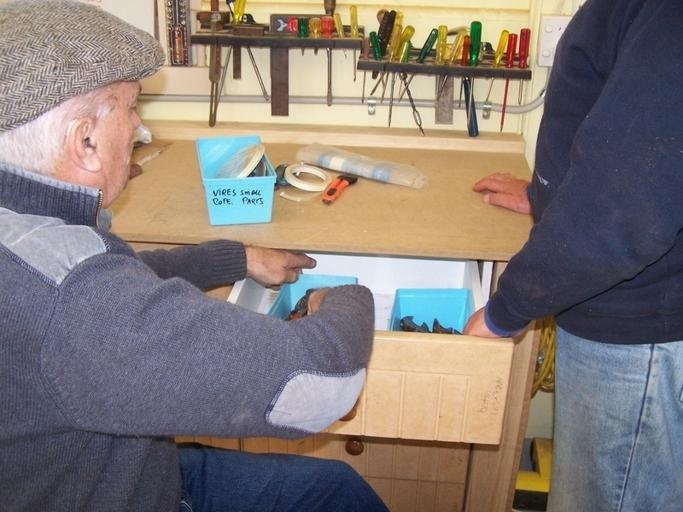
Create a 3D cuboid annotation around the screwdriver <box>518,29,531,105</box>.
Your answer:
[{"bbox_3d":[0.632,-0.654,1.985,0.036,0.223,0.037,-1,16,-12],"label":"screwdriver"}]

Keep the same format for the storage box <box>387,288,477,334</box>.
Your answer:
[{"bbox_3d":[0.311,0.153,1.754,0.223,0.109,0.224,-5,2,-43],"label":"storage box"}]

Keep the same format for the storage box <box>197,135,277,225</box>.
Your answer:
[{"bbox_3d":[-0.308,-0.259,1.683,0.198,0.152,0.351,-2,28,-5],"label":"storage box"}]

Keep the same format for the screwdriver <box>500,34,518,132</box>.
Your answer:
[{"bbox_3d":[0.560,-0.579,1.963,0.037,0.335,0.036,4,-1,25],"label":"screwdriver"}]

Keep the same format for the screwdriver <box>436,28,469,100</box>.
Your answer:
[{"bbox_3d":[0.351,-0.646,1.976,0.088,0.236,0.117,1,30,-4],"label":"screwdriver"}]

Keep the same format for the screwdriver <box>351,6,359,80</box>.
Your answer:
[{"bbox_3d":[0.046,-0.715,1.925,0.028,0.215,0.028,0,15,6],"label":"screwdriver"}]

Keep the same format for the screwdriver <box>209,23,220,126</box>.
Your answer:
[{"bbox_3d":[-0.463,-0.627,2.074,0.027,0.289,0.043,6,17,14],"label":"screwdriver"}]

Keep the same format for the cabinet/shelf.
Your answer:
[{"bbox_3d":[0.060,0.435,2.192,1.459,1.652,0.864,3,23,3],"label":"cabinet/shelf"}]
